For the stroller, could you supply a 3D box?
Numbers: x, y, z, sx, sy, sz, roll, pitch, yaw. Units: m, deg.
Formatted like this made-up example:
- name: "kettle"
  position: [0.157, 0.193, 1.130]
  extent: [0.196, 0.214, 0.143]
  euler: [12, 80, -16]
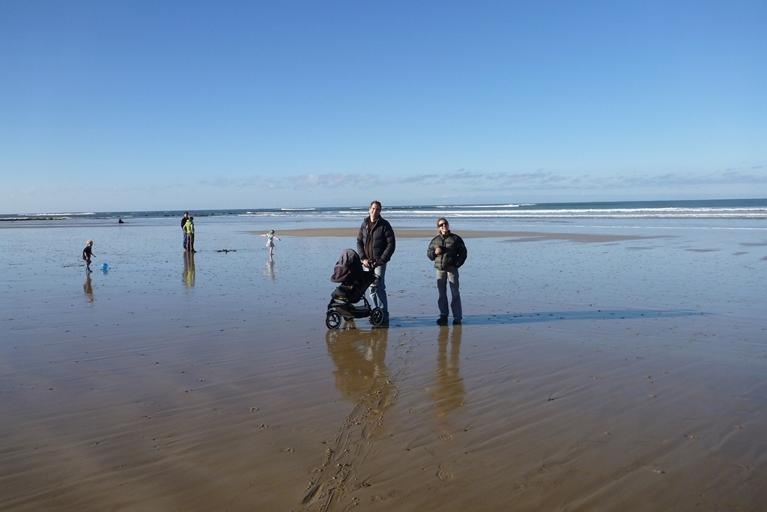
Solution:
- name: "stroller"
  position: [-0.600, 0.681, 11.383]
  extent: [1.164, 1.603, 0.619]
  euler: [-1, 13, -7]

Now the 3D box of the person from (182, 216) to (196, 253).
- name: "person"
  position: [-8.753, -1.012, 25.120]
  extent: [0.428, 1.771, 1.290]
  euler: [-6, 13, -23]

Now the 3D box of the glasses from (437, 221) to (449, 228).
- name: "glasses"
  position: [1.210, -0.653, 11.445]
  extent: [0.139, 0.137, 0.172]
  euler: [-6, -7, 3]
